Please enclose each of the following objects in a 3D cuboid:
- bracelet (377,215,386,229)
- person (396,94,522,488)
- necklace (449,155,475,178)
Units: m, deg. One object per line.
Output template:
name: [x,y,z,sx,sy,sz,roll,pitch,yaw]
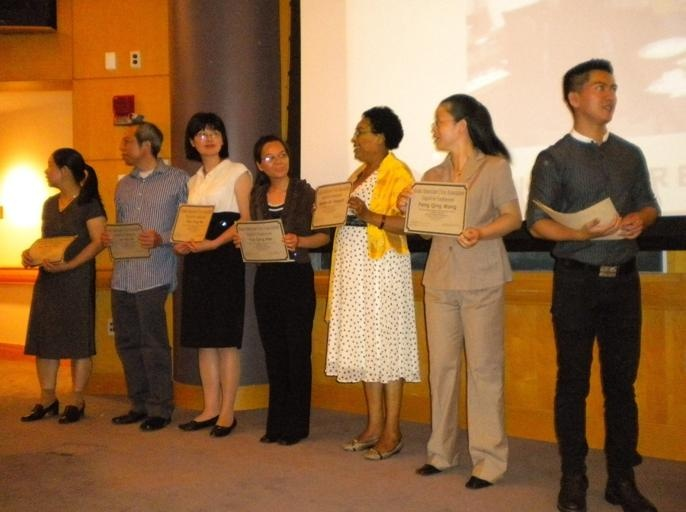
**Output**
bracelet: [0.226,-0.192,3.829,0.042,0.077,0.030,-1,9,2]
person: [0.658,0.177,3.699,0.586,2.083,0.453,2,9,20]
necklace: [0.657,-0.495,3.731,0.104,0.115,0.133,-10,-22,15]
